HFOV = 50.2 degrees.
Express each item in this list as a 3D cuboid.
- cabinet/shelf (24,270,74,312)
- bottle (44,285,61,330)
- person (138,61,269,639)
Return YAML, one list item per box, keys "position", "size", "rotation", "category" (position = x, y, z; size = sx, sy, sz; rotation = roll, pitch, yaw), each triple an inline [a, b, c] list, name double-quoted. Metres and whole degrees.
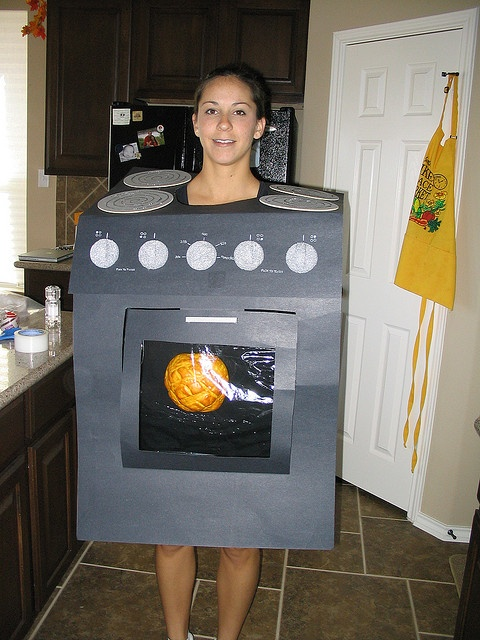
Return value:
- position: [-0.842, -0.138, 2.289]
  size: [0.215, 0.232, 0.125]
  rotation: [2, 10, 4]
  category: "cabinet/shelf"
- position: [-0.595, -0.041, 1.644]
  size: [0.047, 0.113, 0.196]
  rotation: [0, 9, -21]
  category: "bottle"
- position: [-0.048, 0.155, 1.163]
  size: [0.240, 1.409, 0.262]
  rotation: [-1, 8, -25]
  category: "person"
